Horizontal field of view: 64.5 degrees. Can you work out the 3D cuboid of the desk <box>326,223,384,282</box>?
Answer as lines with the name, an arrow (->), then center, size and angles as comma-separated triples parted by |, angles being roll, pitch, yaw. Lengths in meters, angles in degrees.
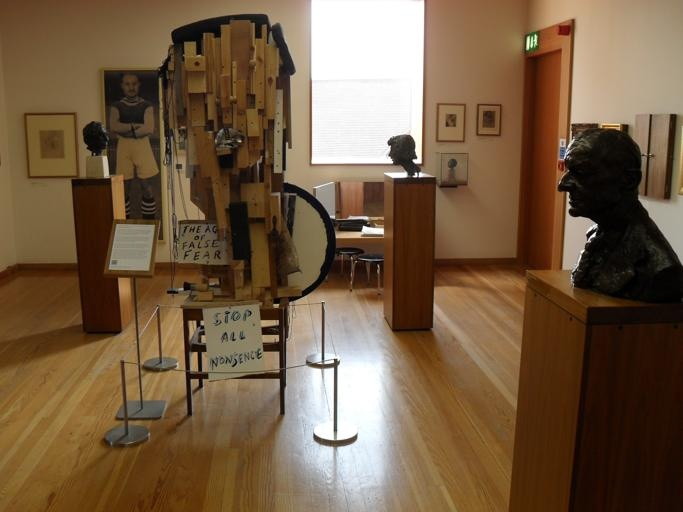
desk -> 0.251, -0.053, 7.506 | 0.687, 0.767, 1.441 | 0, 14, 1

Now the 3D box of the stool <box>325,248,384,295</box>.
stool -> 0.260, 0.107, 7.591 | 0.490, 0.399, 0.756 | 1, 3, 11

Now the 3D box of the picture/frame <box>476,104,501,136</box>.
picture/frame -> 2.177, -2.022, 7.989 | 0.340, 0.486, 0.024 | 6, 37, 19

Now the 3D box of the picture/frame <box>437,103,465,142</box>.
picture/frame -> 1.609, -1.971, 7.961 | 0.402, 0.567, 0.052 | 5, 32, 16
